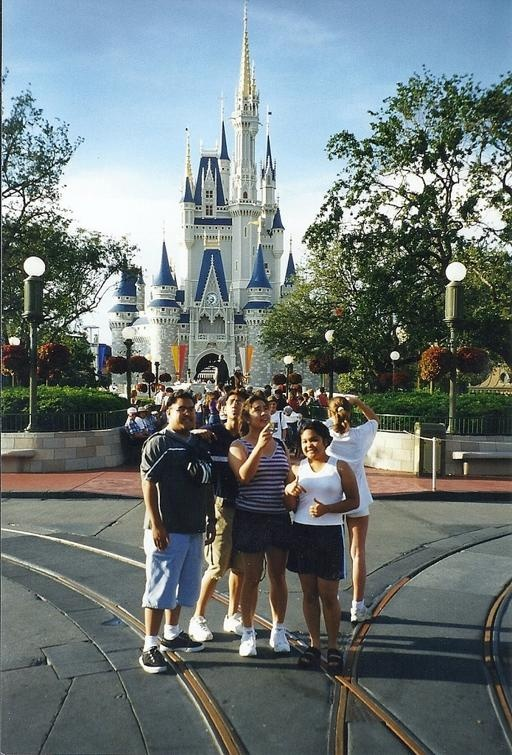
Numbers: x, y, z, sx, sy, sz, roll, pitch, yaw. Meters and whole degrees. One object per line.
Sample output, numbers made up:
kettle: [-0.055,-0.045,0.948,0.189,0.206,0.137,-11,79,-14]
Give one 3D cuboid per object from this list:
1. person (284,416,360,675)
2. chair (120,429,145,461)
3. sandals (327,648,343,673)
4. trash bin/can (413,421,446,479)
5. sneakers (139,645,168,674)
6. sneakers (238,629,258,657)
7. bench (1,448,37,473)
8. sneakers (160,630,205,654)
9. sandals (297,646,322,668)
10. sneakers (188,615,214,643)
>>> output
person: [0.414,1.055,6.462,0.452,1.526,0.519,0,2,16]
chair: [-2.148,1.203,17.439,0.585,0.648,0.562,1,-4,-12]
sandals: [0.496,1.777,6.247,0.071,0.087,0.200,1,-17,0]
trash bin/can: [2.723,1.141,15.587,0.474,0.846,1.160,0,2,11]
sneakers: [-0.634,1.760,6.206,0.172,0.146,0.088,0,2,18]
sneakers: [-0.047,1.729,6.582,0.118,0.168,0.249,0,2,0]
bench: [-3.694,1.327,15.703,0.475,0.370,0.413,0,2,-8]
sneakers: [-0.478,1.765,6.649,0.302,0.133,0.111,2,1,-11]
sandals: [0.346,1.778,6.348,0.145,0.097,0.179,0,2,3]
sneakers: [-0.369,1.731,6.834,0.090,0.110,0.231,4,-12,-22]
